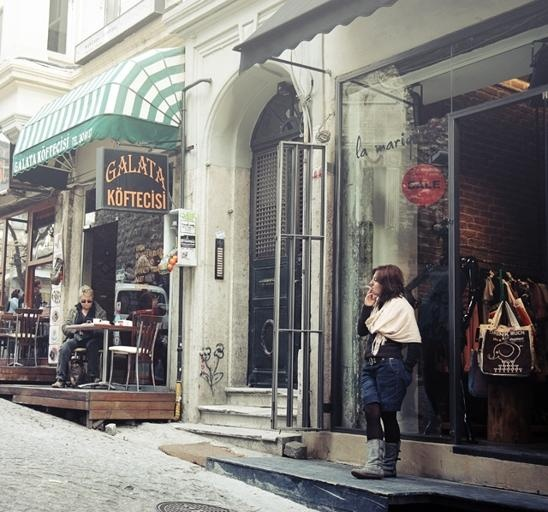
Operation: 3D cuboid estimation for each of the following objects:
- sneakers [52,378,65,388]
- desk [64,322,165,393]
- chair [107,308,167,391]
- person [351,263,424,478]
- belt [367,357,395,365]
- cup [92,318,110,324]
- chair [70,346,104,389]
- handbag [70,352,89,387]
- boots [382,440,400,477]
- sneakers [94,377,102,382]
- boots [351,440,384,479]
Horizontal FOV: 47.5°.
[{"bbox_3d":[-3.147,1.867,9.150,0.088,0.097,0.202,0,-14,-1],"label":"sneakers"},{"bbox_3d":[-2.212,1.366,8.903,1.127,1.080,0.924,1,-8,11],"label":"desk"},{"bbox_3d":[-2.082,1.310,8.833,0.585,0.982,0.587,6,-6,-40],"label":"chair"},{"bbox_3d":[0.926,0.910,5.150,0.554,1.726,0.491,-3,-9,15],"label":"person"},{"bbox_3d":[0.867,0.864,5.136,0.086,0.071,0.266,6,-12,-37],"label":"belt"},{"bbox_3d":[-2.567,0.985,9.302,0.214,0.110,0.150,6,-10,-13],"label":"cup"},{"bbox_3d":[-3.019,1.658,9.806,0.424,0.685,0.473,7,14,0],"label":"chair"},{"bbox_3d":[-3.013,1.763,9.644,0.127,0.476,0.364,2,7,-16],"label":"handbag"},{"bbox_3d":[0.986,1.679,5.187,0.131,0.291,0.438,-4,-10,16],"label":"boots"},{"bbox_3d":[-2.786,1.976,9.962,0.101,0.093,0.113,1,-3,-8],"label":"sneakers"},{"bbox_3d":[0.767,1.621,4.967,0.272,0.331,0.147,3,-25,-3],"label":"boots"}]
